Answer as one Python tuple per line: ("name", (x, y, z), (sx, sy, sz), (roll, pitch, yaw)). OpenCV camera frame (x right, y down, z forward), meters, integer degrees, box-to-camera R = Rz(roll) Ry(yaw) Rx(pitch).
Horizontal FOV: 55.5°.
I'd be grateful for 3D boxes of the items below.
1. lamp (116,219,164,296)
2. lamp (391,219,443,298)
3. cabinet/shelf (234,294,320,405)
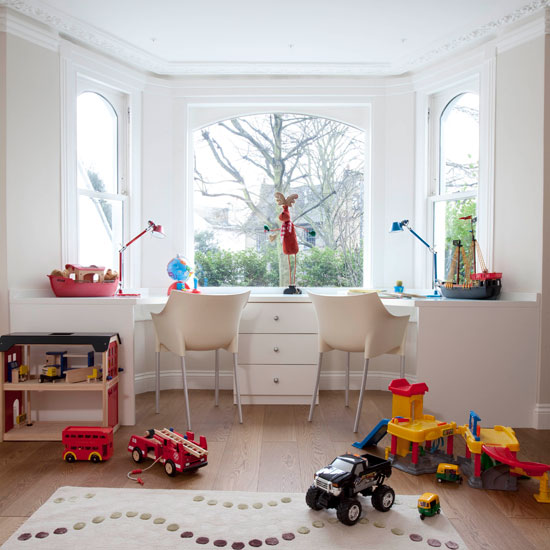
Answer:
("lamp", (-0.899, -0.126, 3.472), (0.293, 0.514, 0.631), (0, 3, -14))
("lamp", (0.955, -0.136, 3.556), (0.318, 0.517, 0.434), (1, 3, 17))
("cabinet/shelf", (0.031, 0.469, 3.466), (0.642, 0.890, 0.577), (0, -2, 1))
